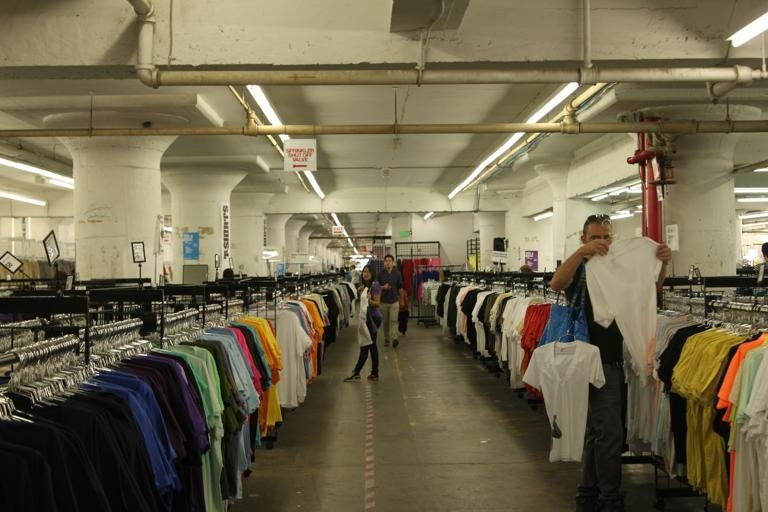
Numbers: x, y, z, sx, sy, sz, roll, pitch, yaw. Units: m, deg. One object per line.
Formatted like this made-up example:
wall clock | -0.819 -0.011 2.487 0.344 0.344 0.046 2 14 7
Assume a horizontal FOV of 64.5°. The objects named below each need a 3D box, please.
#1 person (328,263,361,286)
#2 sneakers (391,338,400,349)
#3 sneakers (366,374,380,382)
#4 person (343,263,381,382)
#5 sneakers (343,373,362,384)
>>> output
person | -1.240 0.611 20.253 1.024 0.514 1.421 0 -3 -6
sneakers | 0.217 1.779 12.517 0.179 0.137 0.249 -3 -11 -4
sneakers | -0.172 1.897 9.541 0.170 0.161 0.079 2 -9 0
person | -0.312 1.059 9.825 0.506 1.815 1.509 -1 5 -1
sneakers | -0.490 1.884 9.464 0.271 0.111 0.114 0 -2 2
